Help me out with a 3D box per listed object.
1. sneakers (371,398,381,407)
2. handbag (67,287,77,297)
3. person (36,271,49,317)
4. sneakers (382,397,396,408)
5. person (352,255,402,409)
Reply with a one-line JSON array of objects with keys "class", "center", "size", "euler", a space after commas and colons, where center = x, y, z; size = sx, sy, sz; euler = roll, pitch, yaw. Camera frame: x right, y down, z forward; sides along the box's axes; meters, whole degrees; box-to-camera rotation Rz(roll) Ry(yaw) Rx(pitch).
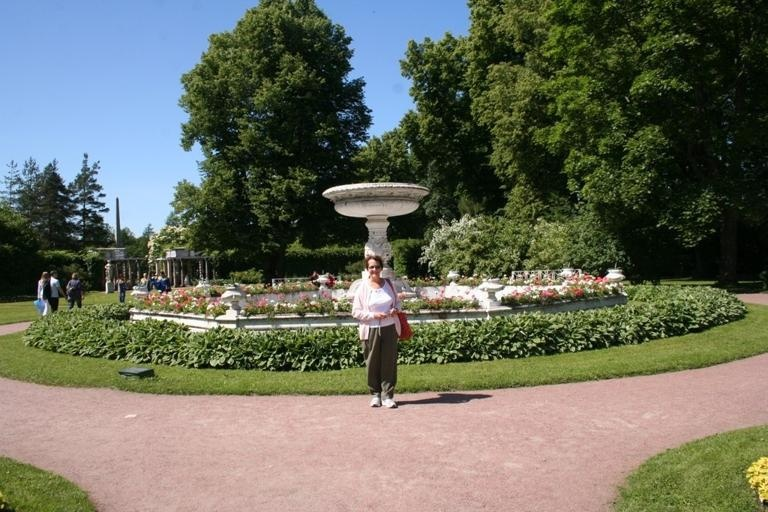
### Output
[{"class": "sneakers", "center": [-0.169, 3.108, 16.195], "size": [0.245, 0.211, 0.113], "euler": [-3, -3, 0]}, {"class": "handbag", "center": [-12.087, 1.407, 29.303], "size": [0.312, 0.316, 0.371], "euler": [2, -29, -15]}, {"class": "person", "center": [-12.132, 1.316, 26.964], "size": [0.410, 1.528, 0.815], "euler": [-2, -3, -22]}, {"class": "sneakers", "center": [0.140, 3.125, 16.191], "size": [0.323, 0.200, 0.244], "euler": [-2, -3, -12]}, {"class": "person", "center": [-0.118, 1.599, 16.338], "size": [0.883, 3.266, 0.573], "euler": [-5, -3, 27]}]
